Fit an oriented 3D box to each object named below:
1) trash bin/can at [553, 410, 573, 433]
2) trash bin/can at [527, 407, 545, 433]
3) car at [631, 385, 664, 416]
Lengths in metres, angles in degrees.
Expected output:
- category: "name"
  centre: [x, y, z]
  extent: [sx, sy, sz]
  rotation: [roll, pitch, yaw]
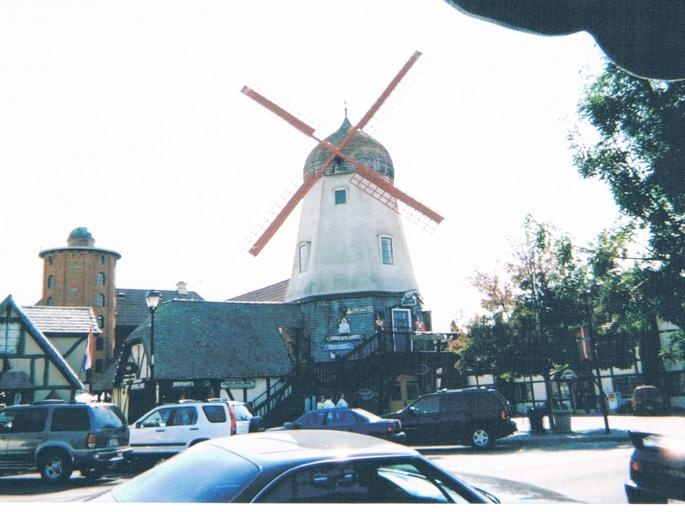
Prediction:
- category: "trash bin/can"
  centre: [8.026, 6.117, 26.859]
  extent: [0.844, 0.837, 0.743]
  rotation: [3, -15, -7]
- category: "trash bin/can"
  centre: [7.197, 6.074, 26.919]
  extent: [0.586, 0.959, 0.723]
  rotation: [-7, -16, 14]
- category: "car"
  centre: [15.670, 7.412, 37.412]
  extent: [1.005, 0.873, 1.964]
  rotation: [-1, -8, 15]
